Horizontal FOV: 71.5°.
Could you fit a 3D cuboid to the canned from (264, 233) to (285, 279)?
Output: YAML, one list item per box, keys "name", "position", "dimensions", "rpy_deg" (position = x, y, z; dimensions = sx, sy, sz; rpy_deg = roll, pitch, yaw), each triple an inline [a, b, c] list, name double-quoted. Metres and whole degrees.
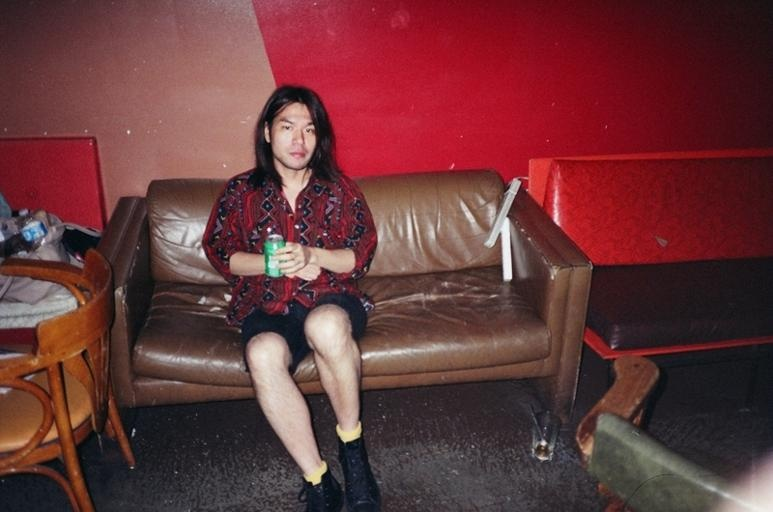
- name: "canned"
  position: [-0.483, 0.007, 2.283]
  dimensions: [0.090, 0.214, 0.116]
  rpy_deg: [-11, 18, -30]

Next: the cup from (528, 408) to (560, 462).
- name: "cup"
  position: [0.730, 0.804, 2.465]
  dimensions: [0.117, 0.207, 0.169]
  rpy_deg: [4, 16, 19]

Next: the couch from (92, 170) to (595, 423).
- name: "couch"
  position: [-0.216, 0.193, 2.775]
  dimensions: [2.197, 1.009, 0.896]
  rpy_deg: [-2, 28, -10]
